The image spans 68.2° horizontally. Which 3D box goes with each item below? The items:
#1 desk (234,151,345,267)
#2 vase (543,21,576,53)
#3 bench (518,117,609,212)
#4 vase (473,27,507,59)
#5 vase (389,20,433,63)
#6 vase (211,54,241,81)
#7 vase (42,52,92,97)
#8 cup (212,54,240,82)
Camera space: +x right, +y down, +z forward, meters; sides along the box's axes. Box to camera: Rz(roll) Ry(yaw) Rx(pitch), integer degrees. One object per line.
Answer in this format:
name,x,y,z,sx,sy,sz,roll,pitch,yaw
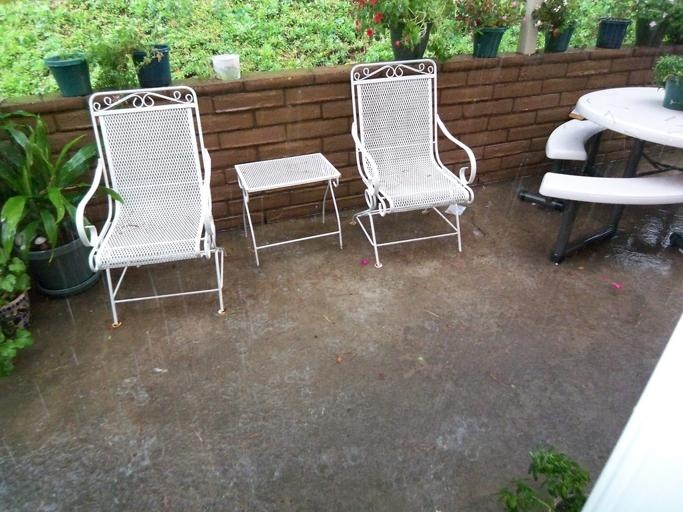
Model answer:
desk,-0.414,-0.364,3.706,0.662,0.564,0.474,-16,55,-16
vase,1.798,-1.817,4.106,0.195,0.161,0.209,12,46,15
bench,1.732,-0.752,3.961,0.495,0.470,0.726,25,44,35
vase,1.135,-1.682,3.900,0.212,0.160,0.207,-23,47,-23
vase,0.498,-1.612,3.664,0.255,0.210,0.273,5,43,7
vase,-0.784,-1.301,3.414,0.184,0.135,0.181,-2,42,-4
vase,-1.745,-1.187,3.243,0.255,0.208,0.261,18,37,35
cup,-0.790,-1.328,3.474,0.195,0.159,0.187,-3,29,2
